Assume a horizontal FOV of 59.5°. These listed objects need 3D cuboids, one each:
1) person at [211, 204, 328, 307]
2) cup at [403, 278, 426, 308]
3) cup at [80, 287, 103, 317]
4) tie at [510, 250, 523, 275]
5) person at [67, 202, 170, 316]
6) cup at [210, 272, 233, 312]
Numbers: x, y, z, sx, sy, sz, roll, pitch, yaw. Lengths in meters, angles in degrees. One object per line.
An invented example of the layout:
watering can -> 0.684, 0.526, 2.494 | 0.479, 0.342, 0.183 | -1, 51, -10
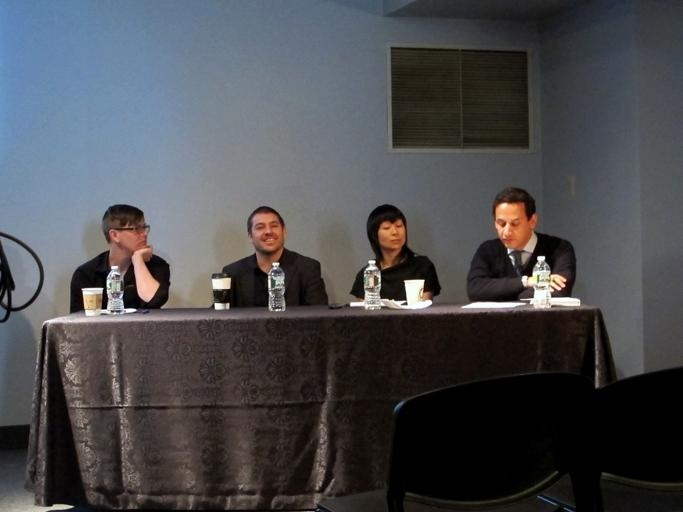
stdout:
person -> -0.460, 0.057, 3.783 | 0.730, 0.761, 0.454 | -2, 10, -3
cup -> 0.380, 0.206, 3.111 | 0.112, 0.131, 0.114 | 0, -4, 0
cup -> -1.225, 0.223, 2.913 | 0.105, 0.132, 0.113 | -1, -9, 0
tie -> 1.036, 0.039, 3.543 | 0.042, 0.158, 0.020 | -11, -11, 30
person -> -1.416, 0.191, 3.773 | 0.550, 1.010, 0.476 | -1, 9, -9
cup -> -0.633, 0.187, 3.140 | 0.120, 0.179, 0.125 | -1, -1, 0
